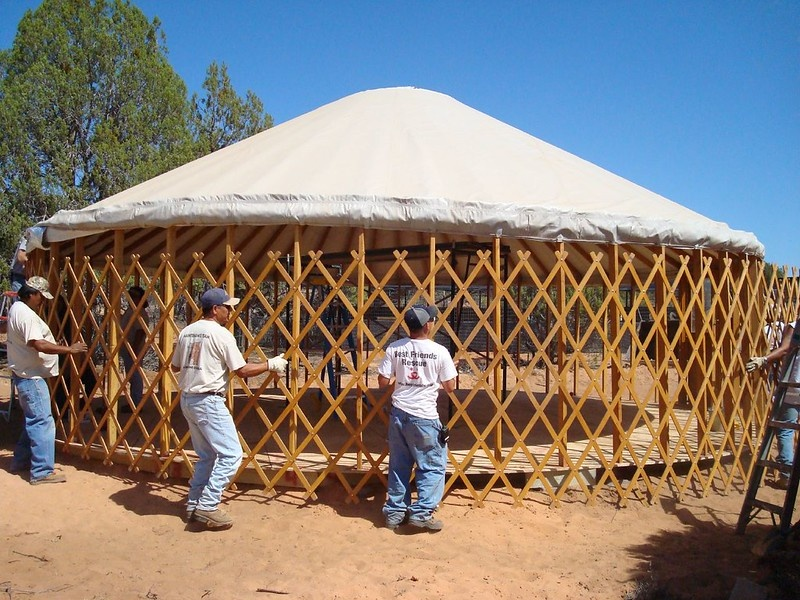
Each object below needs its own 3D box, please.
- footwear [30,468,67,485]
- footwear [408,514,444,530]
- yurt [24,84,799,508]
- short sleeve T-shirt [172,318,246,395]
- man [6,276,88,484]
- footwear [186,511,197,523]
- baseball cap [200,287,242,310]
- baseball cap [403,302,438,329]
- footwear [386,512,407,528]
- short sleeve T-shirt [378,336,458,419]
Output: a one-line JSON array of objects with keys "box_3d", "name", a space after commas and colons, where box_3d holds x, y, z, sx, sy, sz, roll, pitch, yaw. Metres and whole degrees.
[{"box_3d": [-3.218, 1.619, 6.622, 0.294, 0.146, 0.127, -2, 4, -26], "name": "footwear"}, {"box_3d": [0.218, 1.822, 5.960, 0.280, 0.160, 0.122, 3, 9, -13], "name": "footwear"}, {"box_3d": [-0.056, 0.243, 7.480, 5.567, 2.621, 5.068, 2, -2, -27], "name": "yurt"}, {"box_3d": [-1.569, 0.481, 5.933, 0.636, 0.607, 0.426, 1, -4, 3], "name": "short sleeve T-shirt"}, {"box_3d": [-3.315, 0.772, 6.634, 0.576, 1.828, 0.662, -7, 15, -31], "name": "man"}, {"box_3d": [-1.697, 1.775, 5.924, 0.059, 0.084, 0.195, 2, -17, -10], "name": "footwear"}, {"box_3d": [-1.470, 0.003, 5.880, 0.220, 0.107, 0.152, -2, 10, -33], "name": "baseball cap"}, {"box_3d": [0.176, 0.149, 5.875, 0.155, 0.137, 0.237, 18, 47, 40], "name": "baseball cap"}, {"box_3d": [-0.034, 1.800, 5.935, 0.111, 0.066, 0.087, -31, 21, 6], "name": "footwear"}, {"box_3d": [0.126, 0.591, 5.955, 0.611, 0.709, 0.428, 4, 20, 5], "name": "short sleeve T-shirt"}]
